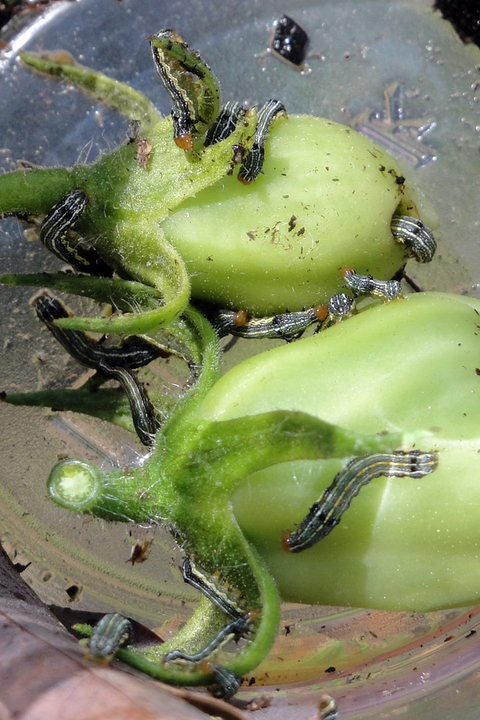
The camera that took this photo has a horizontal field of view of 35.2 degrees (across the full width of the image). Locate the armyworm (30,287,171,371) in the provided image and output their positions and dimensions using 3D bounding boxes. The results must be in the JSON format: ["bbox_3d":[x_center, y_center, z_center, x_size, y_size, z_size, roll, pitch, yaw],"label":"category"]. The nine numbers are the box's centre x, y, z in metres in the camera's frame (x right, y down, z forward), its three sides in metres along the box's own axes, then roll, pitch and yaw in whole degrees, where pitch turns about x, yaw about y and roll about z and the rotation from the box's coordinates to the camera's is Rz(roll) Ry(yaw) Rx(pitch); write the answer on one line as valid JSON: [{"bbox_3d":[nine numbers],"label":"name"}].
[{"bbox_3d":[-0.503,-0.080,2.540,0.471,0.138,0.224,34,39,1],"label":"armyworm"}]

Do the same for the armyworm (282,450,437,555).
[{"bbox_3d":[0.251,0.295,1.703,0.368,0.155,0.110,-23,61,-14],"label":"armyworm"}]

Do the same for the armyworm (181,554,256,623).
[{"bbox_3d":[-0.069,0.532,1.764,0.246,0.072,0.069,32,68,5],"label":"armyworm"}]

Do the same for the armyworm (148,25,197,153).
[{"bbox_3d":[-0.149,-0.628,1.795,0.094,0.300,0.090,-20,31,0],"label":"armyworm"}]

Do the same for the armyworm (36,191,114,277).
[{"bbox_3d":[-0.455,-0.323,2.075,0.160,0.353,0.069,-14,61,-7],"label":"armyworm"}]
